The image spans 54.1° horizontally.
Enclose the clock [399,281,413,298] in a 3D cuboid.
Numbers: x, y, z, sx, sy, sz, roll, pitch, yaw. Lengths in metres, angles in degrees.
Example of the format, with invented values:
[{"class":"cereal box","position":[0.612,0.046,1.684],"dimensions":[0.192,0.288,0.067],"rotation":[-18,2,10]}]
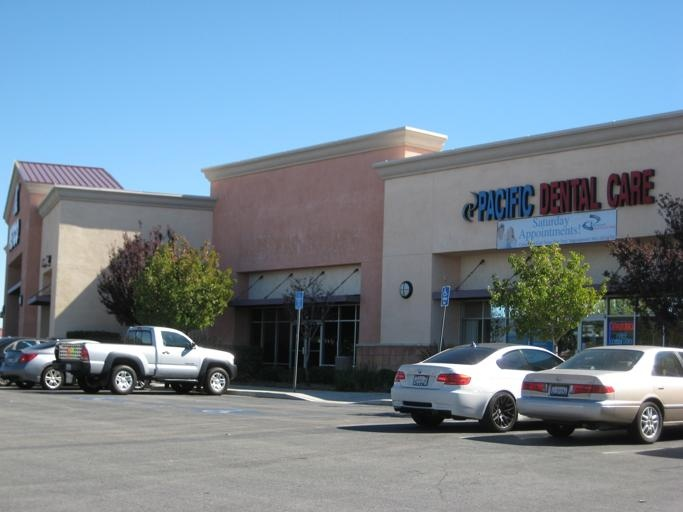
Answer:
[{"class":"clock","position":[2.950,1.523,30.272],"dimensions":[0.214,0.812,0.730],"rotation":[9,-14,-38]}]
